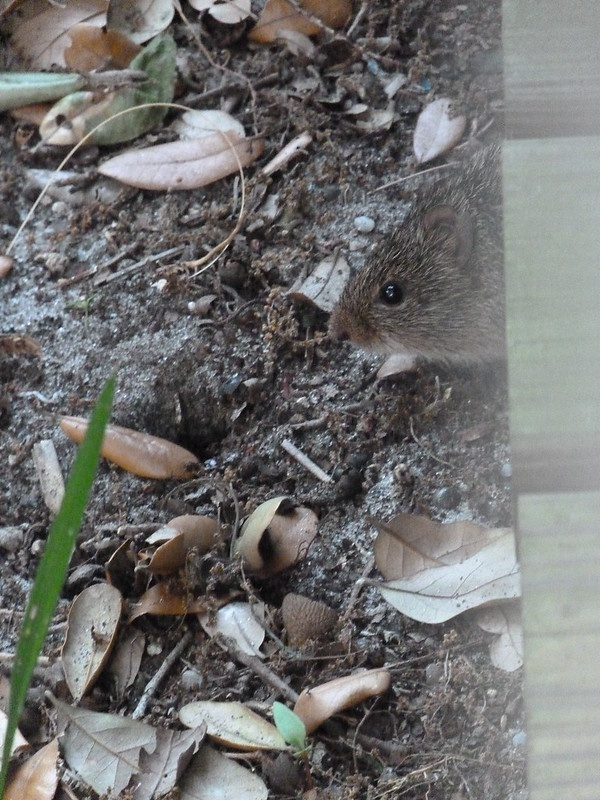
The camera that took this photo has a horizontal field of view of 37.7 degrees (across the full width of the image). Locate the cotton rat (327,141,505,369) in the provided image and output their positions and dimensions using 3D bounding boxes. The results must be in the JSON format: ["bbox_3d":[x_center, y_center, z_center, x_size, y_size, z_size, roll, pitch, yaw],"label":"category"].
[{"bbox_3d":[0.323,-0.392,2.375,0.443,0.339,0.550,0,55,13],"label":"cotton rat"}]
